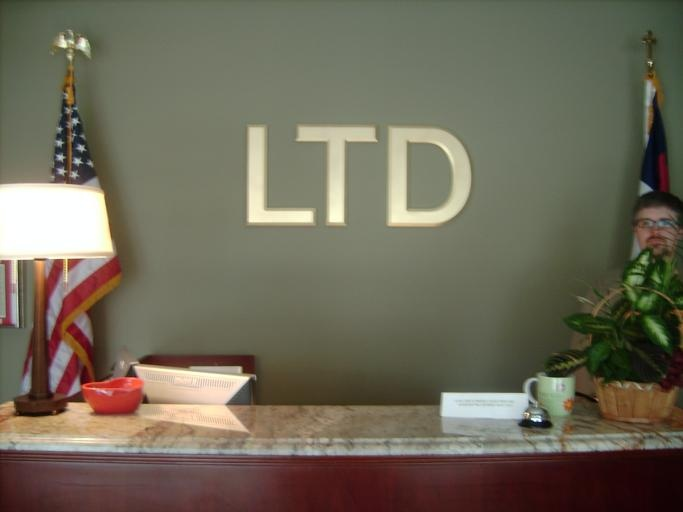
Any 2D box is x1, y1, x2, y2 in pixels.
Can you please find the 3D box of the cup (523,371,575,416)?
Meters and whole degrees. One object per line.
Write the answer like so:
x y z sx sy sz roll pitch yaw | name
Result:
0.816 0.549 2.445 0.193 0.149 0.132 0 -4 15 | cup

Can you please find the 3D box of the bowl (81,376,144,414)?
-0.916 0.556 2.473 0.181 0.098 0.151 3 -3 -16 | bowl
